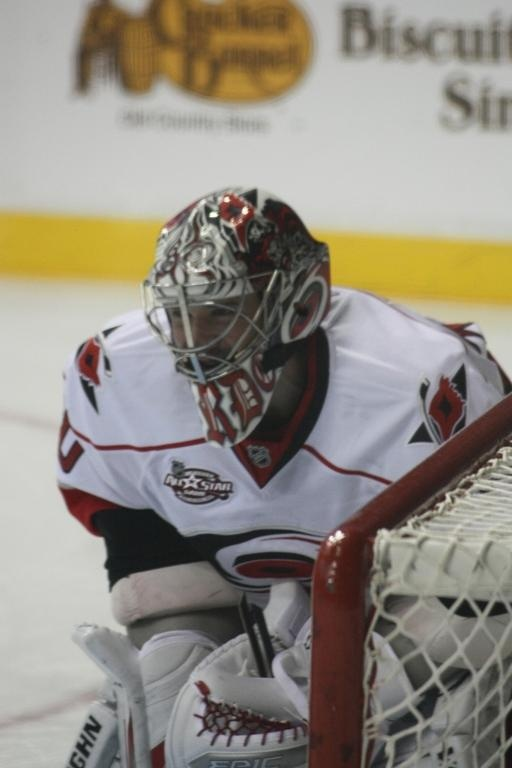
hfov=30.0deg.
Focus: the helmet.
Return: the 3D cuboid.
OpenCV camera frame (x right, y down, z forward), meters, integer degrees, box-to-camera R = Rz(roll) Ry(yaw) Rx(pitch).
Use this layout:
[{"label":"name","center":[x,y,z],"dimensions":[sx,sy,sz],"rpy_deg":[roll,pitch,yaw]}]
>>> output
[{"label":"helmet","center":[-0.021,-0.110,1.699],"dimensions":[0.348,0.461,0.194],"rpy_deg":[-5,18,-5]}]
